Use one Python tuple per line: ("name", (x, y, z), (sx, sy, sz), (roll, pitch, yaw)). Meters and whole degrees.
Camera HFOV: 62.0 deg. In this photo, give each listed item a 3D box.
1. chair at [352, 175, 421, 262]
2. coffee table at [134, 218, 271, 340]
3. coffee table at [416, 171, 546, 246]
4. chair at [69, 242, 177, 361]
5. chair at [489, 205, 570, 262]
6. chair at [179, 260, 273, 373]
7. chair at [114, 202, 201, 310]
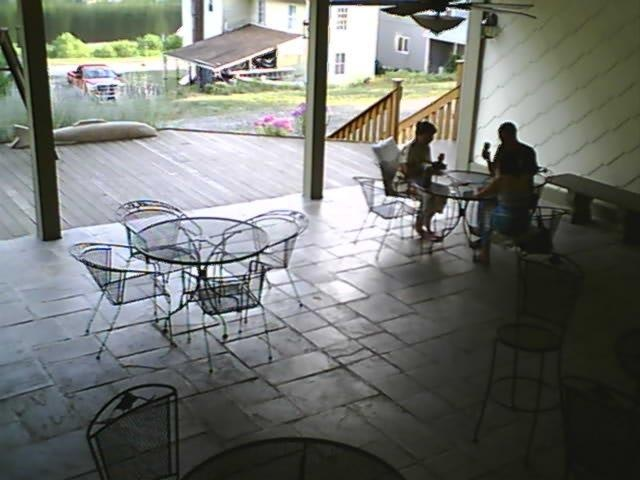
("chair", (0.901, -0.296, 6.761), (0.865, 0.743, 0.813), (10, 20, 28))
("coffee table", (-0.926, 0.458, 5.116), (1.373, 0.692, 1.321), (-11, 33, -31))
("coffee table", (1.821, -0.373, 6.274), (1.210, 0.484, 1.106), (8, 24, 26))
("chair", (-1.814, 0.601, 4.903), (0.806, 0.802, 0.651), (-15, 42, -28))
("chair", (2.441, -0.087, 6.233), (0.797, 0.811, 1.012), (9, 25, 17))
("chair", (-0.820, 0.594, 4.606), (0.759, 0.809, 0.695), (-6, 12, -24))
("chair", (-1.617, 0.190, 5.256), (0.871, 0.981, 0.802), (5, 37, 3))
